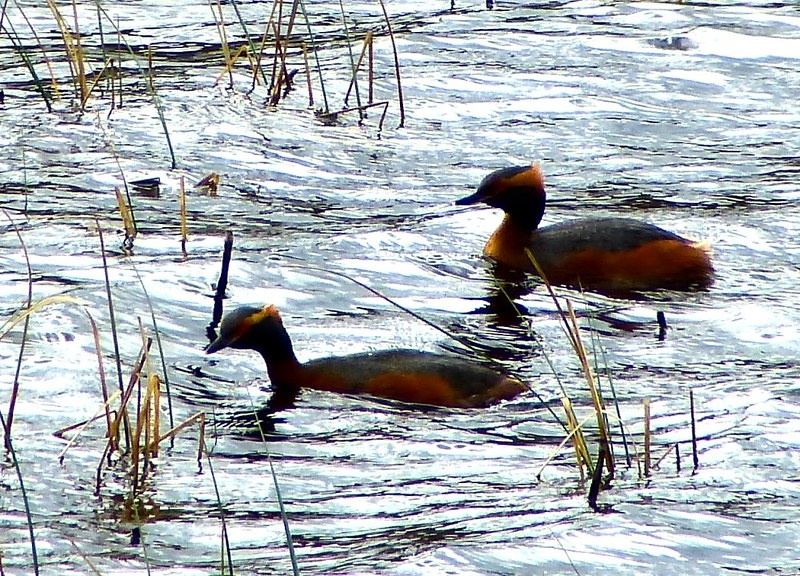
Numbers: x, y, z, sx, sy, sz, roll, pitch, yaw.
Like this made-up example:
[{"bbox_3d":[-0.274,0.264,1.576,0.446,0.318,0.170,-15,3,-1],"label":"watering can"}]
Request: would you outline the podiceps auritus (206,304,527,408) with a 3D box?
[{"bbox_3d":[-0.238,0.514,7.639,2.251,0.433,0.677,10,-10,-32],"label":"podiceps auritus"}]
